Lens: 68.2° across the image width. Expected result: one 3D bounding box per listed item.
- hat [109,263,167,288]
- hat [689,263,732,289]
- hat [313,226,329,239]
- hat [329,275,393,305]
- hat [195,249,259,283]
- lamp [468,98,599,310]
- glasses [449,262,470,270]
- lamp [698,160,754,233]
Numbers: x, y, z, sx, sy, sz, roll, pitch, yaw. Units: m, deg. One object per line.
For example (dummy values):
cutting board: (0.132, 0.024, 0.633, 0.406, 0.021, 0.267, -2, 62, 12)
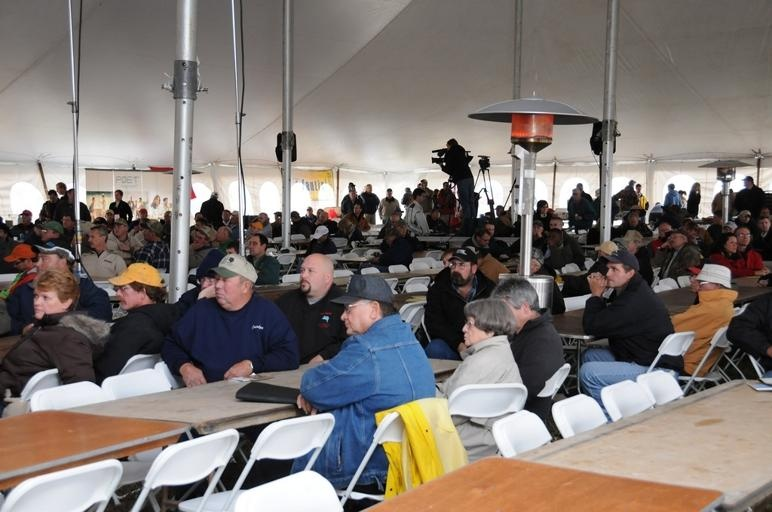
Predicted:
hat: (-1.982, 0.136, 4.494, 0.326, 0.132, 0.206, 5, 0, -12)
hat: (3.093, 0.183, 5.436, 0.351, 0.164, 0.258, 6, 2, 26)
hat: (-1.144, -0.444, 10.238, 0.204, 0.107, 0.305, 7, 35, 36)
hat: (-0.110, 0.188, 3.233, 0.255, 0.111, 0.175, 2, -2, 6)
hat: (-1.454, 0.089, 5.272, 0.381, 0.284, 0.524, 0, -17, 41)
lamp: (1.048, -0.418, 4.205, 0.842, 1.568, 0.537, -1, 5, -15)
glasses: (0.719, 0.096, 5.547, 0.109, 0.035, 0.116, -5, -20, 35)
lamp: (7.957, -1.379, 13.390, 1.223, 1.622, 1.177, -2, 1, -6)
